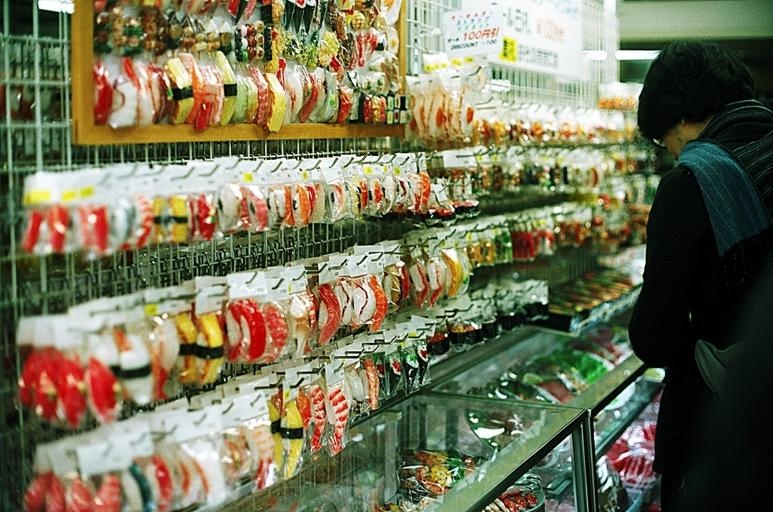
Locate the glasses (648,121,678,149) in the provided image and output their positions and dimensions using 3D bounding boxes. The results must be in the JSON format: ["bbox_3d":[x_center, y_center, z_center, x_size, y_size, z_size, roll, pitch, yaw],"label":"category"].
[{"bbox_3d":[1.083,-0.488,2.757,0.102,0.108,0.091,-18,20,30],"label":"glasses"}]
